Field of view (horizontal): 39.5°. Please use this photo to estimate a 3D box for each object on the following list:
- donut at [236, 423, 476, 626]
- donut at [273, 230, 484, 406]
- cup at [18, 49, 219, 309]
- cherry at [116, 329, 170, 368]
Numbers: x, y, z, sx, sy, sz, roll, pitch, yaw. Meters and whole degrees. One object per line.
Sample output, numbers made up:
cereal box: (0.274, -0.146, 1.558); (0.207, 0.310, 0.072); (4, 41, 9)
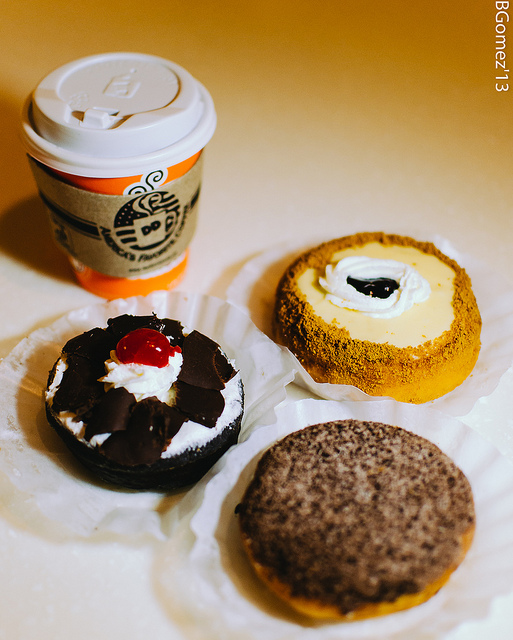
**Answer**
donut: (0.199, 0.397, 1.468); (0.487, 0.130, 0.403); (-10, 41, -15)
donut: (0.300, -0.019, 1.776); (0.491, 0.217, 0.470); (-5, 41, -9)
cup: (-0.341, -0.355, 1.741); (0.499, 0.500, 0.446); (19, 49, 7)
cherry: (-0.230, 0.056, 1.427); (0.088, 0.042, 0.084); (31, 46, 19)
